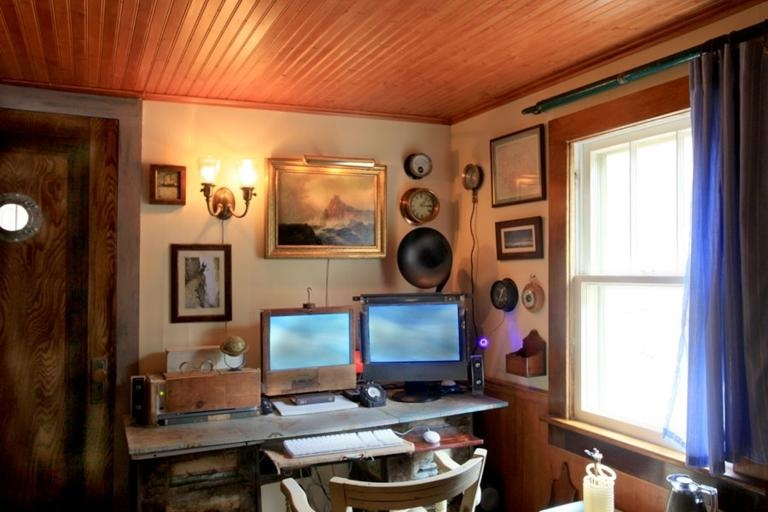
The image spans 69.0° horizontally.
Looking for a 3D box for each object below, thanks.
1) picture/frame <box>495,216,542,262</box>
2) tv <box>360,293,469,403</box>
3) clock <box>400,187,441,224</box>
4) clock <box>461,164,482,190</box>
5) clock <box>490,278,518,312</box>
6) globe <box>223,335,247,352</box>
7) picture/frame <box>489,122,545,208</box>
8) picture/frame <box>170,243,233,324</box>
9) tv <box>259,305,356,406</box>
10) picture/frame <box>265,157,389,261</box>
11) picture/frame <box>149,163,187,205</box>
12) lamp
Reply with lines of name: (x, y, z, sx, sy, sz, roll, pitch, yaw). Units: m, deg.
picture/frame: (1.015, -0.125, 4.183, 0.041, 0.323, 0.456, -1, 2, -34)
tv: (0.266, 0.534, 4.341, 1.119, 1.080, 0.651, -1, 0, -4)
clock: (0.314, -0.413, 4.730, 0.370, 0.308, 0.112, -1, 1, -14)
clock: (0.730, -0.641, 4.623, 0.071, 0.219, 0.230, -1, 2, -27)
clock: (0.911, 0.306, 4.274, 0.082, 0.255, 0.248, -2, 2, -39)
globe: (-1.044, 0.626, 3.844, 0.113, 0.109, 0.133, 1, 3, 40)
picture/frame: (1.014, -0.675, 4.190, 0.048, 0.747, 0.624, 4, -6, -33)
picture/frame: (-1.390, 0.221, 4.154, 0.580, 0.831, 0.079, 1, -4, -22)
tv: (-0.563, 0.739, 3.999, 0.630, 0.585, 0.207, 1, -8, -16)
picture/frame: (-0.507, -0.367, 4.445, 0.815, 0.653, 0.064, 1, -2, -21)
picture/frame: (-1.603, -0.517, 4.089, 0.300, 0.377, 0.042, 0, 0, -23)
lamp: (-1.181, -0.480, 4.162, 0.409, 0.489, 0.267, 1, 7, -26)
